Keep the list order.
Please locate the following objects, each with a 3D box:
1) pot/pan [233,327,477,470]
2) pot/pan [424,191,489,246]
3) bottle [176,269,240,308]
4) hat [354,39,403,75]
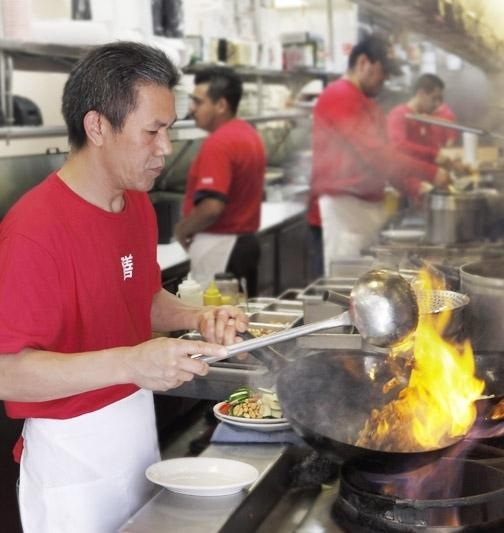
[{"bbox_3d":[0.200,0.267,1.205,0.304,0.169,0.315,-2,6,0],"label":"pot/pan"},{"bbox_3d":[0.539,-0.131,1.665,0.150,0.120,0.141,3,14,22],"label":"pot/pan"},{"bbox_3d":[-0.149,0.074,2.305,0.175,0.111,0.055,-1,6,-24],"label":"bottle"},{"bbox_3d":[0.310,-0.523,1.607,0.132,0.059,0.078,7,18,-1],"label":"hat"}]
